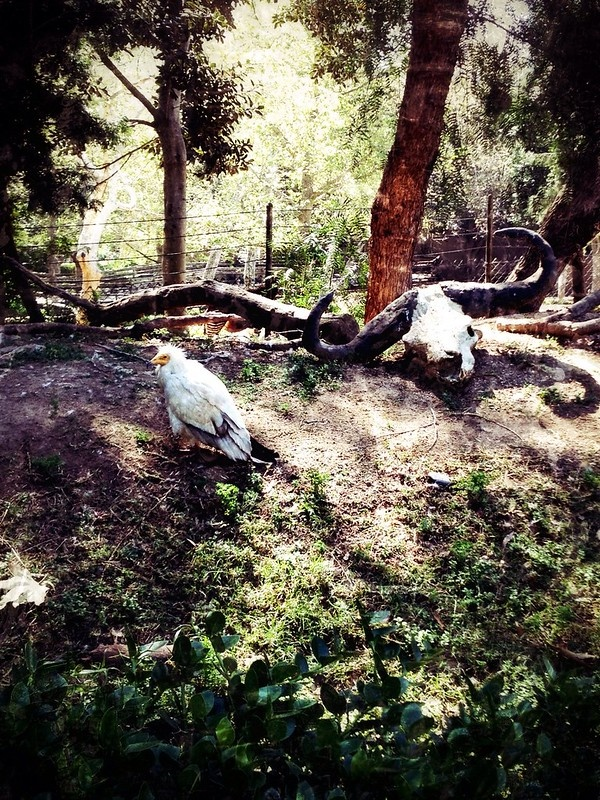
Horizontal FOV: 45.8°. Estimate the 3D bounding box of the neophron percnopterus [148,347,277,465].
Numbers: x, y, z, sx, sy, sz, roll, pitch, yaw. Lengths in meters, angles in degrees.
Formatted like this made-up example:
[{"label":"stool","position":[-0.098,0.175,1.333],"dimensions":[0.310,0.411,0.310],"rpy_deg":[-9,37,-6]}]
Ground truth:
[{"label":"neophron percnopterus","position":[-0.624,0.044,5.207],"dimensions":[0.917,0.818,0.462],"rpy_deg":[2,6,-8]}]
